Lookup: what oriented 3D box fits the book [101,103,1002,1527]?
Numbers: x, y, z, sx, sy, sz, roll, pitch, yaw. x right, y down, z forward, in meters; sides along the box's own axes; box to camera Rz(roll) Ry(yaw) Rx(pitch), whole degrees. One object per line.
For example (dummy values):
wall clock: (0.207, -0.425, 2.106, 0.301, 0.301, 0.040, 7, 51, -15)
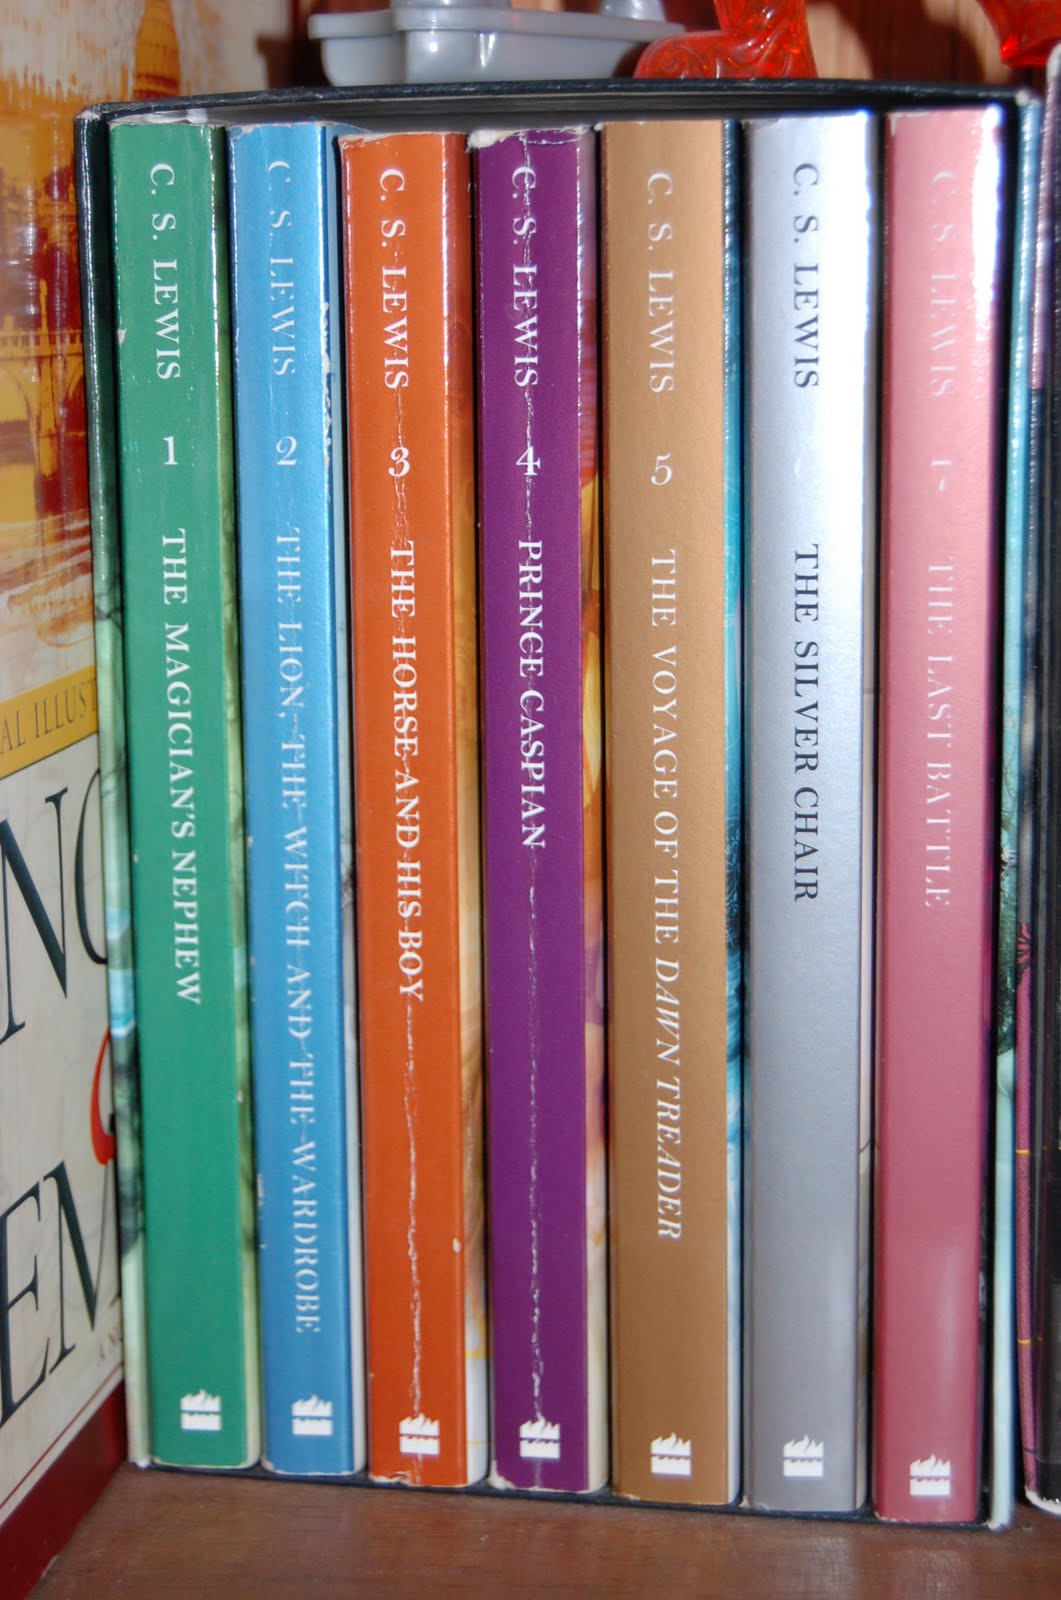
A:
book: (0.007, 0.011, 0.546, 0.267, 0.415, 0.024, 1, 10, 7)
